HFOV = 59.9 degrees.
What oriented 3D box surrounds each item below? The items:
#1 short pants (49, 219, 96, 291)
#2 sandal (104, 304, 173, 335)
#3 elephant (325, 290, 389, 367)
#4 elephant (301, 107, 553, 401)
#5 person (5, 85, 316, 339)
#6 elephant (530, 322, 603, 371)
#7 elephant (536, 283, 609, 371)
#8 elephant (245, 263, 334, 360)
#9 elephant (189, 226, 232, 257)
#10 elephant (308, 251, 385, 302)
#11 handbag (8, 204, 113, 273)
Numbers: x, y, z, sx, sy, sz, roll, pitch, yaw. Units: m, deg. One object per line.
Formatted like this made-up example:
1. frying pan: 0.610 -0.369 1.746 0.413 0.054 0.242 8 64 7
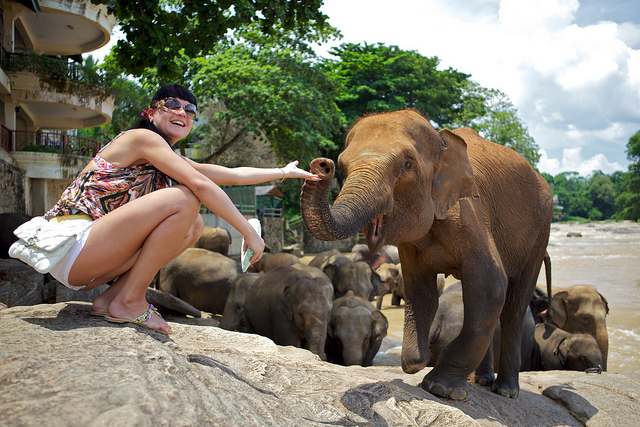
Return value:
1. short pants: -1.885 0.315 4.393 0.304 0.504 0.372 -2 10 -9
2. sandal: -1.440 0.824 4.467 0.534 0.200 0.179 19 -7 -23
3. elephant: 0.589 1.935 9.048 0.638 0.851 1.443 0 -4 3
4. elephant: 1.308 0.519 5.862 3.667 2.941 1.326 10 -7 -35
5. person: -1.457 -0.076 4.699 1.791 1.719 1.011 10 2 -7
6. elephant: 3.915 2.177 8.840 0.505 0.790 1.339 5 -13 -23
7. elephant: 4.473 1.745 9.357 0.931 1.648 1.003 -1 -3 -1
8. elephant: -0.343 1.547 9.170 0.827 1.498 1.744 2 -7 -26
9. elephant: -3.367 1.004 17.150 0.885 1.285 1.856 -11 6 -33
10. elephant: 0.737 1.551 13.119 0.939 1.314 2.174 -15 4 -18
11. handbag: -2.064 0.294 4.340 0.432 0.202 0.513 25 46 29
